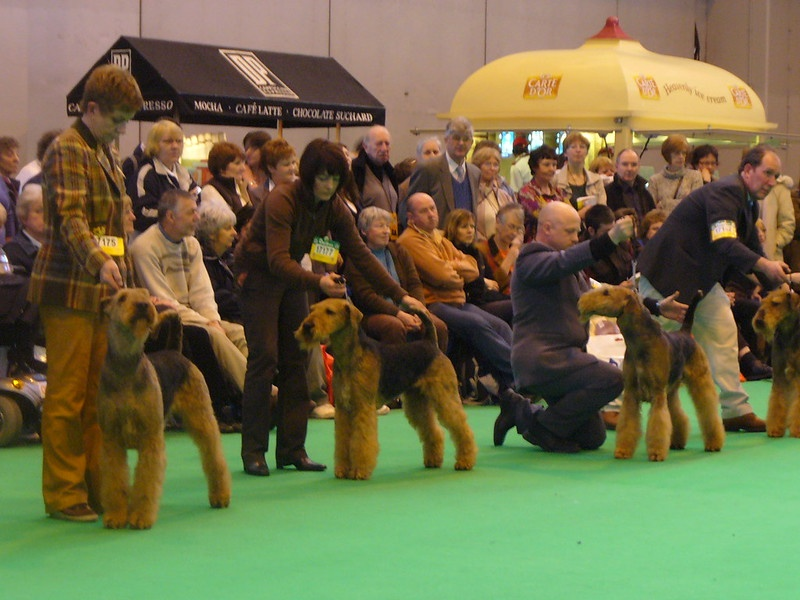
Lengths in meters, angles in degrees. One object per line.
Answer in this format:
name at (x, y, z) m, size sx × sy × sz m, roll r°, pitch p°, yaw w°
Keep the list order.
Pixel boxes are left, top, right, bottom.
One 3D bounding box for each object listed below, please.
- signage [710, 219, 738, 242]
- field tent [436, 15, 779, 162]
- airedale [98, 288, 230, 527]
signage at (2.603, -0.578, 5.954) m, size 0.156 × 0.132 × 0.168 m, roll 0°, pitch -6°, yaw -1°
field tent at (4.464, -4.618, 15.764) m, size 6.175 × 2.626 × 7.117 m, roll 9°, pitch 14°, yaw 30°
airedale at (-1.325, 0.561, 4.082) m, size 0.462 × 1.278 × 0.641 m, roll 1°, pitch 2°, yaw 33°
